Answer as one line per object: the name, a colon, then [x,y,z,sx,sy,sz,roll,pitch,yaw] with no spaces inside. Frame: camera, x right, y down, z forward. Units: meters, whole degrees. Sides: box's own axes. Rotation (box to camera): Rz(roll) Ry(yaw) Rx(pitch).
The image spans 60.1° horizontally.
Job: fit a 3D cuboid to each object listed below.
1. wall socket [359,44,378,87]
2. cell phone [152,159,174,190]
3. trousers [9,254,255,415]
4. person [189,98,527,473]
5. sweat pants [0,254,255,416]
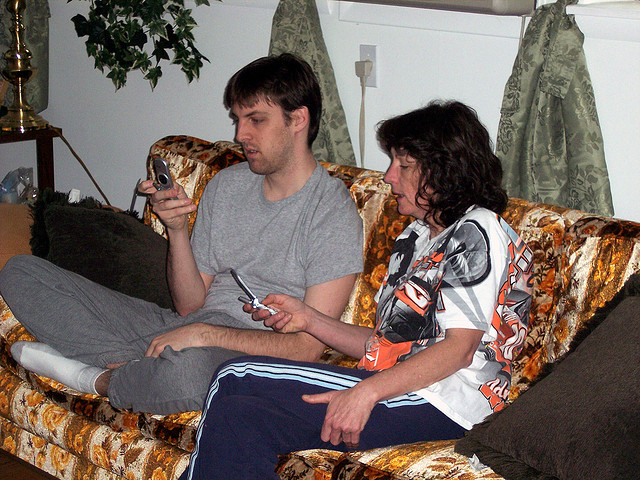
wall socket: [0.209,-0.769,2.459,0.090,0.176,0.017,-8,17,-26]
cell phone: [-0.495,-0.203,1.732,0.058,0.097,0.094,-3,11,-18]
trousers: [-0.630,0.419,1.840,0.791,0.305,0.451,21,3,25]
person: [0.137,0.117,1.329,0.763,0.897,0.491,-10,15,-43]
sweat pants: [-0.602,0.191,1.804,0.782,0.306,0.465,26,0,13]
